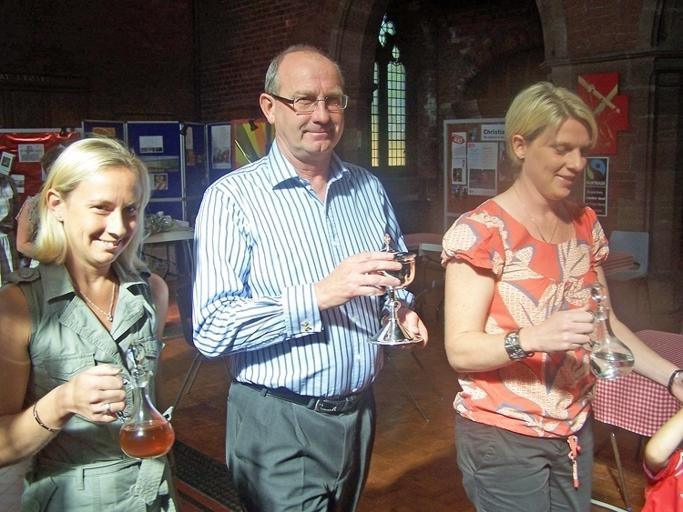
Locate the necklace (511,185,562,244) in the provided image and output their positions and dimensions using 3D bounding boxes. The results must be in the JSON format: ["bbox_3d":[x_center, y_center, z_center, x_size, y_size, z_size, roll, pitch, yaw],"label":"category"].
[{"bbox_3d":[0.605,-0.122,1.713,0.152,0.201,0.073,-18,-12,-39],"label":"necklace"}]

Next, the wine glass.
[{"bbox_3d":[0.171,0.140,1.741,0.204,0.300,0.204,0,7,25],"label":"wine glass"}]

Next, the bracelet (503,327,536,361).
[{"bbox_3d":[0.491,0.260,1.467,0.094,0.098,0.064,5,-7,-8],"label":"bracelet"}]

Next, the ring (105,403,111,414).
[{"bbox_3d":[-0.593,0.390,1.312,0.021,0.021,0.021,-2,1,0],"label":"ring"}]

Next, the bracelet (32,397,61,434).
[{"bbox_3d":[-0.787,0.430,1.358,0.071,0.088,0.026,-1,10,6],"label":"bracelet"}]

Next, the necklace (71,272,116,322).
[{"bbox_3d":[-0.783,0.136,1.627,0.029,0.114,0.118,-30,-12,22],"label":"necklace"}]
